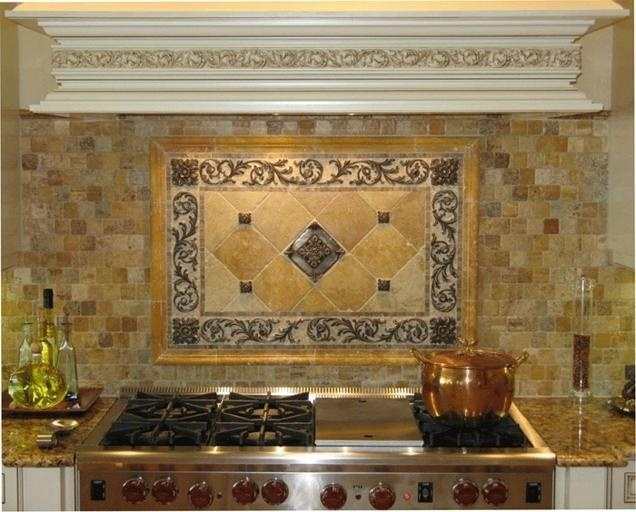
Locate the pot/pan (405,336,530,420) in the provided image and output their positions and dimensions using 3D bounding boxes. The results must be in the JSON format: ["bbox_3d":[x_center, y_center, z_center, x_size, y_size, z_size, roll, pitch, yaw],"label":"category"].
[{"bbox_3d":[0.529,0.419,3.192,0.398,0.238,0.317,5,9,17],"label":"pot/pan"}]

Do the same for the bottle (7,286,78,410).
[{"bbox_3d":[-1.004,0.340,3.364,0.238,0.433,0.241,-1,-7,0],"label":"bottle"}]

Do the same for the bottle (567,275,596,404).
[{"bbox_3d":[1.008,0.310,3.479,0.099,0.472,0.115,-2,-7,10],"label":"bottle"}]
